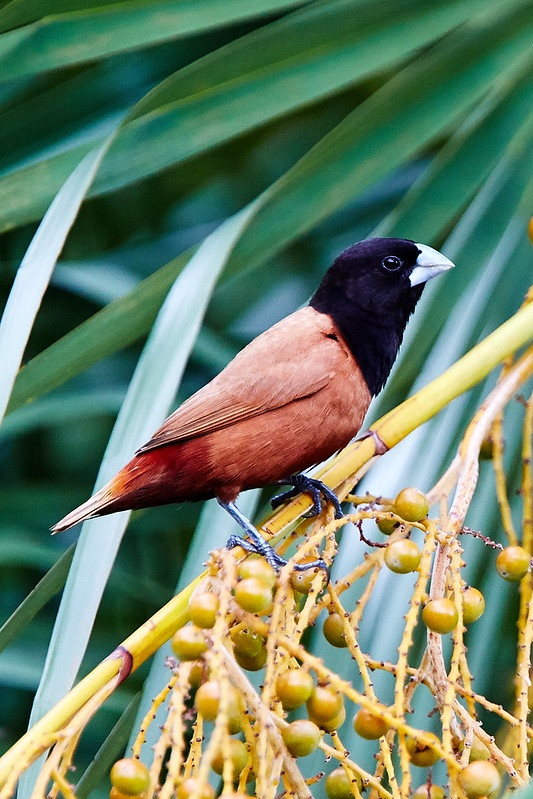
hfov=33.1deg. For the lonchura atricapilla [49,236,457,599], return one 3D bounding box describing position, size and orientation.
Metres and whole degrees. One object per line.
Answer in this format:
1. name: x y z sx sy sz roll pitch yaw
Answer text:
1. lonchura atricapilla: -0.017 -0.009 1.376 0.567 0.208 0.484 2 84 3
